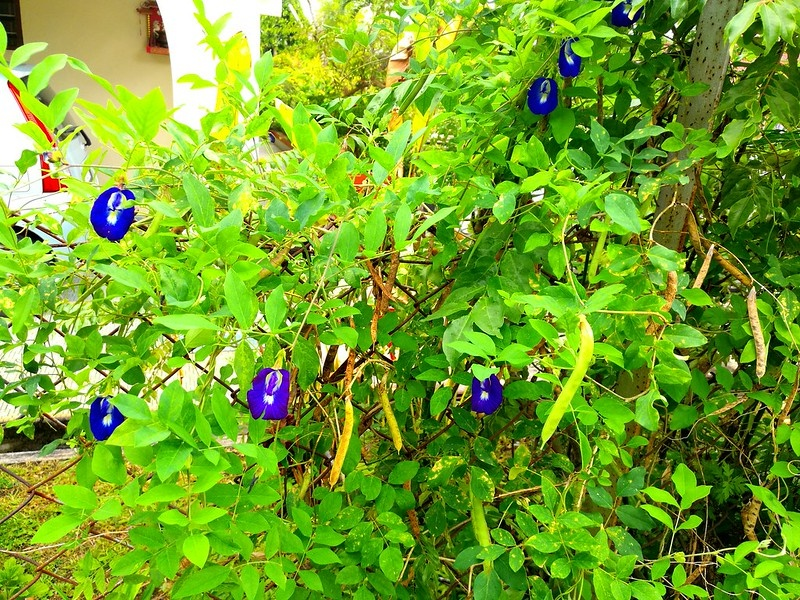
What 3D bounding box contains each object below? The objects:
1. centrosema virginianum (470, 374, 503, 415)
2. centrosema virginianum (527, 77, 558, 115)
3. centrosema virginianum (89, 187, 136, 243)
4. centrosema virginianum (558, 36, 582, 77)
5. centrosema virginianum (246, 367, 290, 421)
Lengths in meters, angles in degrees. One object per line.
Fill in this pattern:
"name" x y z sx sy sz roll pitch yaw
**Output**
"centrosema virginianum" 0.168 0.184 1.258 0.081 0.101 0.023 -12 45 -4
"centrosema virginianum" 0.298 -0.427 1.291 0.064 0.077 0.050 2 18 13
"centrosema virginianum" -0.558 -0.168 1.201 0.080 0.107 0.035 14 -10 -14
"centrosema virginianum" 0.343 -0.493 1.252 0.037 0.073 0.054 -10 19 -23
"centrosema virginianum" -0.231 0.168 1.065 0.067 0.093 0.028 3 -17 5
